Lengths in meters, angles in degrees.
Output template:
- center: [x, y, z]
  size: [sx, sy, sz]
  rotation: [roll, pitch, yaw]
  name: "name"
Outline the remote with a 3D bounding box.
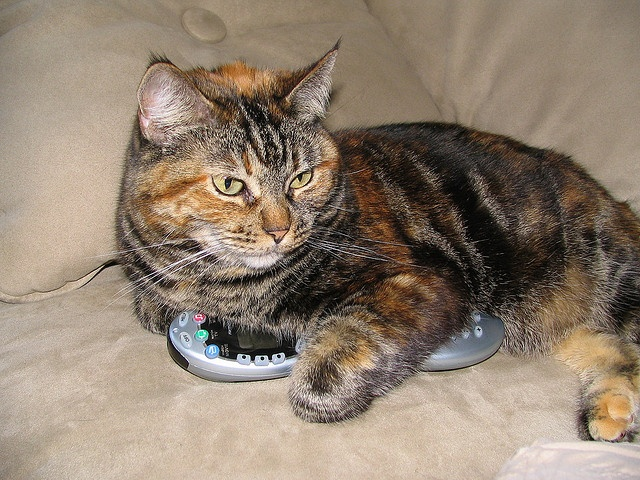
- center: [0.044, 0.217, 1.117]
  size: [0.719, 0.089, 0.162]
  rotation: [-1, 25, -6]
  name: "remote"
